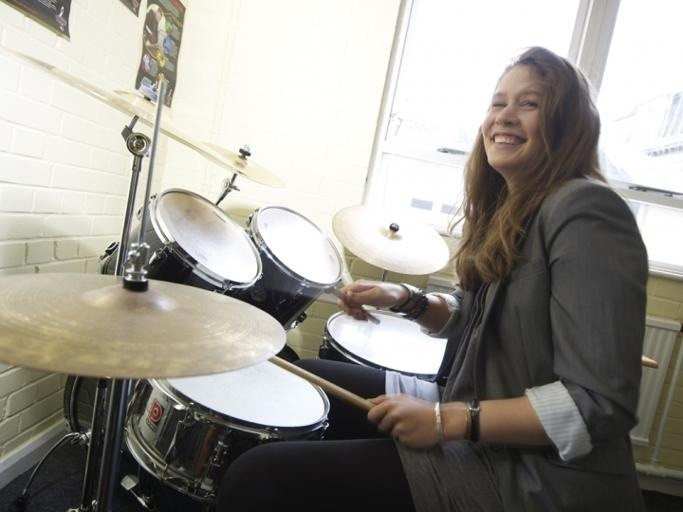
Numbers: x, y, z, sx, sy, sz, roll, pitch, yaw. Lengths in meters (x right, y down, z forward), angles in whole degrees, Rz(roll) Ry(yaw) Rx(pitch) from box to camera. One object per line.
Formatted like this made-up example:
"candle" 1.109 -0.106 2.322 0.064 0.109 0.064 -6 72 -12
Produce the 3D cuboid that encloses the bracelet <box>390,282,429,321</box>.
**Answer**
"bracelet" 0.248 0.172 1.779 0.094 0.119 0.099 48 36 -12

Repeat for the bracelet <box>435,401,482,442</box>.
"bracelet" 0.281 0.399 1.219 0.116 0.096 0.049 10 10 9

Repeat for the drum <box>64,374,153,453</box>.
"drum" -0.932 0.590 1.995 0.225 0.237 0.237 -15 -8 30

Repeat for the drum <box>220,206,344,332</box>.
"drum" -0.293 0.102 2.253 0.509 0.480 0.489 12 46 -44

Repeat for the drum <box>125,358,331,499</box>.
"drum" -0.399 0.536 1.581 0.561 0.232 0.580 24 -6 3

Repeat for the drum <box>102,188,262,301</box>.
"drum" -0.594 0.109 1.954 0.470 0.447 0.470 15 33 -47
